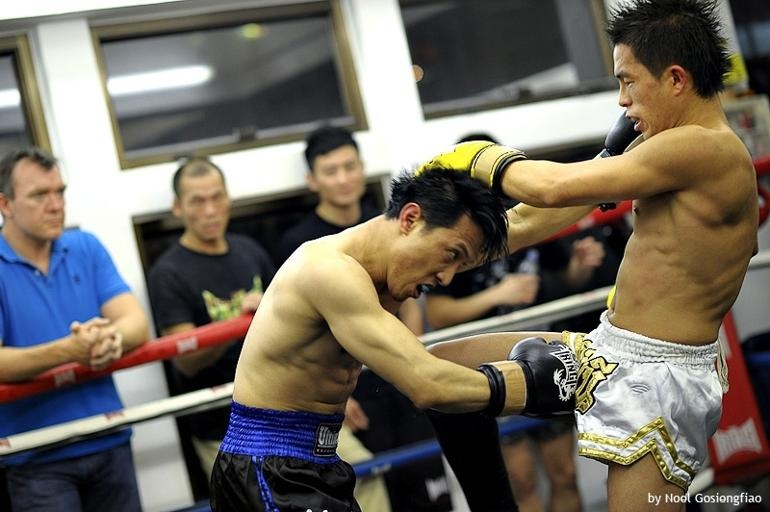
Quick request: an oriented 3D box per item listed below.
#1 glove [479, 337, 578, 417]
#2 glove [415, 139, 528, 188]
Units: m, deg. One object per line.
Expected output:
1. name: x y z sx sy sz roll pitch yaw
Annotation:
1. glove: 0.590 0.493 3.028 0.476 0.214 0.331 -10 -4 -15
2. glove: 0.364 -0.388 2.978 0.318 0.145 0.234 -15 14 21
